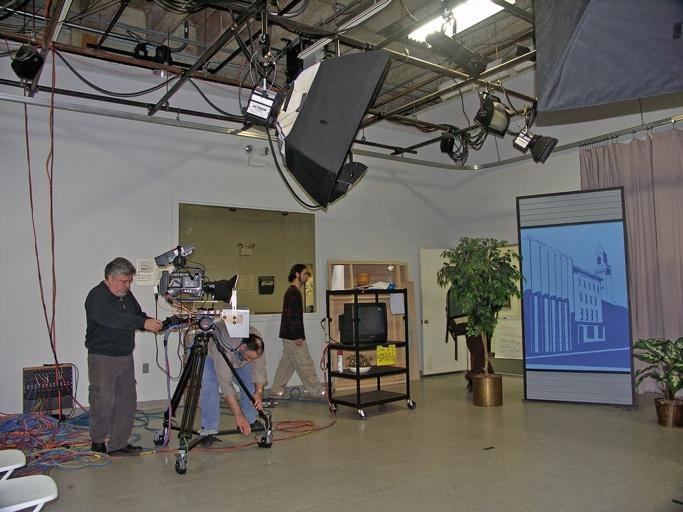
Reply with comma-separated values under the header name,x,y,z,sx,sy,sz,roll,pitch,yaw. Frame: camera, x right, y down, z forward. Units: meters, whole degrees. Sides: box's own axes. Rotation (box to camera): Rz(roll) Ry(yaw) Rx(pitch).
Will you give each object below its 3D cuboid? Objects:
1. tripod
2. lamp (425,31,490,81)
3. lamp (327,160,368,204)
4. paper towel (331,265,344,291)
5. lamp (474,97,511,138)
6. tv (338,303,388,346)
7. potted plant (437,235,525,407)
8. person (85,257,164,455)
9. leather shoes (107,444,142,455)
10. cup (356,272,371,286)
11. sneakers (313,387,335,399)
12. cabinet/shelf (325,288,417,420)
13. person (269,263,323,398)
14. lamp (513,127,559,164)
name,x,y,z,sx,sy,sz,roll,pitch,yaw
tripod,-1.193,1.307,5.387,1.240,1.685,1.250,0,-8,11
lamp,1.171,-2.153,5.425,0.845,0.308,0.265,13,-57,-48
lamp,0.028,-0.451,3.136,0.160,0.329,0.079,28,-25,11
paper towel,-0.058,0.319,8.202,0.186,0.387,0.343,-1,0,-3
lamp,1.923,-1.774,6.622,0.440,0.495,0.262,-1,0,-19
tv,0.257,0.893,7.002,0.590,0.547,0.451,0,-5,-40
potted plant,2.067,0.885,7.729,1.099,2.236,1.712,-1,0,17
person,-2.230,0.996,5.241,0.689,1.994,0.486,-1,0,-6
leather shoes,-2.173,1.909,5.275,0.287,0.102,0.117,0,-4,-11
cup,0.308,0.336,7.656,0.177,0.198,0.179,-1,-2,0
sneakers,-0.242,1.975,7.582,0.158,0.199,0.449,-3,-7,33
cabinet/shelf,0.355,1.246,7.091,1.219,1.576,1.115,-3,-6,6
person,-0.667,1.095,7.651,0.756,1.905,0.929,-1,0,-31
lamp,2.572,-1.419,7.073,0.498,0.521,0.153,23,-6,25
